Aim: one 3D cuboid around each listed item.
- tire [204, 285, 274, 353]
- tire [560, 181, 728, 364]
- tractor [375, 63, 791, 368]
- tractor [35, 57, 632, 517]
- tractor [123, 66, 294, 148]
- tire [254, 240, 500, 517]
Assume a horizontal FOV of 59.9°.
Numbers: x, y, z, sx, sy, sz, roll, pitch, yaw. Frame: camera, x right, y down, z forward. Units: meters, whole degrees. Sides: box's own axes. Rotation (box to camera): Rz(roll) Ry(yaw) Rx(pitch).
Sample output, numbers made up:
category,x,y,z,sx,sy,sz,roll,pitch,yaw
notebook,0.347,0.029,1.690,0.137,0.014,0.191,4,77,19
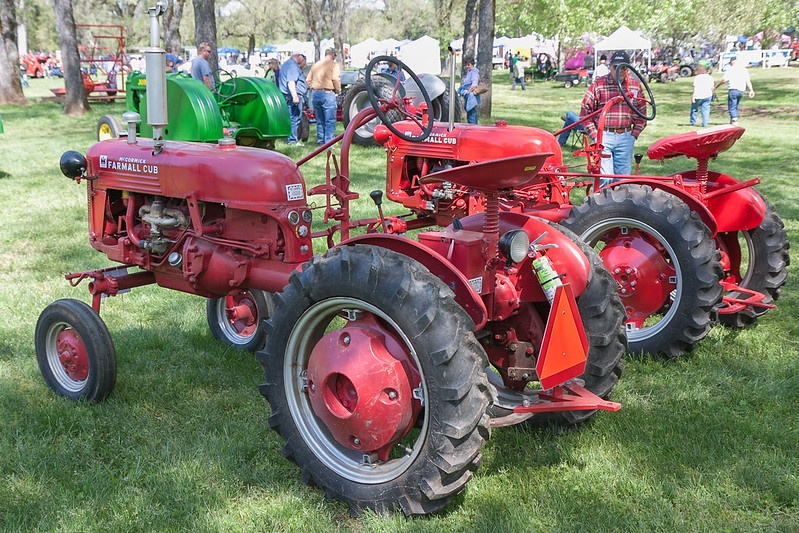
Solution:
category,x,y,z,sx,sy,sz,roll,pitch,yaw
tire,-1.519,0.511,6.649,0.506,0.534,0.255,20,17,39
tire,2.266,0.100,6.398,1.625,1.733,0.538,4,1,24
tractor,1.921,-0.798,8.453,4.999,3.240,2.799,13,15,22
tractor,-0.771,-0.238,6.716,5.524,3.618,2.879,13,13,31
tractor,-4.115,-2.914,13.687,3.153,1.613,2.496,21,25,29
tire,-0.120,0.851,5.015,1.395,1.446,0.436,32,8,20
